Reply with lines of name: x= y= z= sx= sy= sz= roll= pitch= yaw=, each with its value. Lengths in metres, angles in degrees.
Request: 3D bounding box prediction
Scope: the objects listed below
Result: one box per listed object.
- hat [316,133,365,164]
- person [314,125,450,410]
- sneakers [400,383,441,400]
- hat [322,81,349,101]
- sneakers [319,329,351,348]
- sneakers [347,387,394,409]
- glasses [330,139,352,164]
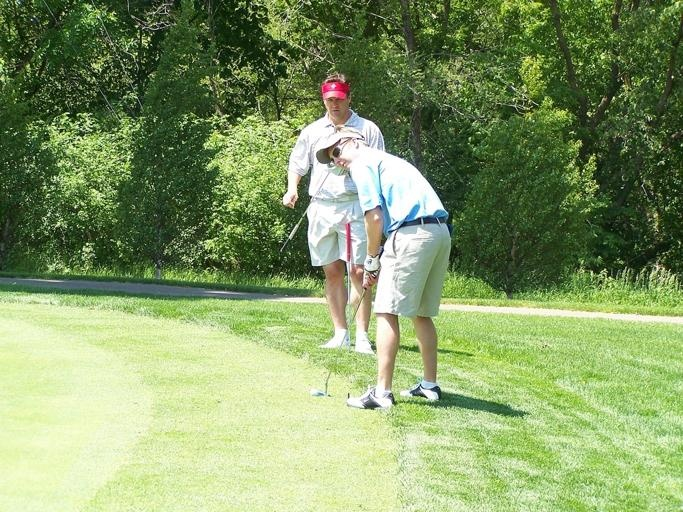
hat: x=-0.009 y=-0.955 z=7.304 sx=0.336 sy=0.175 sz=0.259 roll=-10 pitch=-35 yaw=-21
person: x=0.434 y=0.177 z=7.127 sx=0.882 sy=2.108 sz=0.629 roll=0 pitch=8 yaw=-40
sneakers: x=0.668 y=1.154 z=7.370 sx=0.382 sy=0.169 sz=0.138 roll=4 pitch=6 yaw=27
hat: x=-0.054 y=-1.779 z=8.970 sx=0.288 sy=0.207 sz=0.215 roll=5 pitch=7 yaw=-1
sneakers: x=-0.036 y=0.886 z=8.880 sx=0.379 sy=0.174 sz=0.128 roll=4 pitch=-3 yaw=-43
sneakers: x=0.255 y=1.185 z=6.982 sx=0.394 sy=0.195 sz=0.153 roll=2 pitch=-5 yaw=3
glasses: x=-0.003 y=-0.900 z=7.254 sx=0.057 sy=0.204 sz=0.190 roll=-28 pitch=-18 yaw=23
